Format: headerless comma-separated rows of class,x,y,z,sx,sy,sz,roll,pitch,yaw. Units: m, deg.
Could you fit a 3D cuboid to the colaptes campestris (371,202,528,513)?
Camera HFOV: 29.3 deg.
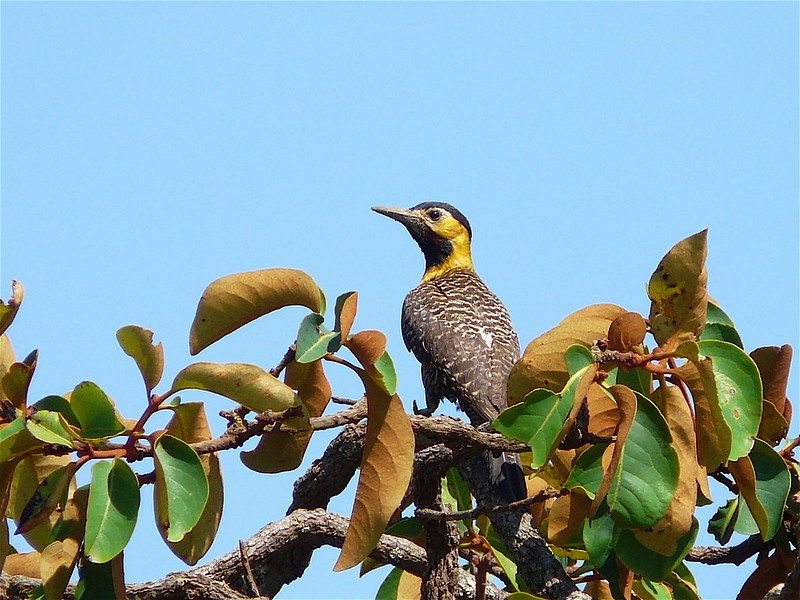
colaptes campestris,0.436,0.267,9.717,0.636,1.993,1.379,5,-71,-22
